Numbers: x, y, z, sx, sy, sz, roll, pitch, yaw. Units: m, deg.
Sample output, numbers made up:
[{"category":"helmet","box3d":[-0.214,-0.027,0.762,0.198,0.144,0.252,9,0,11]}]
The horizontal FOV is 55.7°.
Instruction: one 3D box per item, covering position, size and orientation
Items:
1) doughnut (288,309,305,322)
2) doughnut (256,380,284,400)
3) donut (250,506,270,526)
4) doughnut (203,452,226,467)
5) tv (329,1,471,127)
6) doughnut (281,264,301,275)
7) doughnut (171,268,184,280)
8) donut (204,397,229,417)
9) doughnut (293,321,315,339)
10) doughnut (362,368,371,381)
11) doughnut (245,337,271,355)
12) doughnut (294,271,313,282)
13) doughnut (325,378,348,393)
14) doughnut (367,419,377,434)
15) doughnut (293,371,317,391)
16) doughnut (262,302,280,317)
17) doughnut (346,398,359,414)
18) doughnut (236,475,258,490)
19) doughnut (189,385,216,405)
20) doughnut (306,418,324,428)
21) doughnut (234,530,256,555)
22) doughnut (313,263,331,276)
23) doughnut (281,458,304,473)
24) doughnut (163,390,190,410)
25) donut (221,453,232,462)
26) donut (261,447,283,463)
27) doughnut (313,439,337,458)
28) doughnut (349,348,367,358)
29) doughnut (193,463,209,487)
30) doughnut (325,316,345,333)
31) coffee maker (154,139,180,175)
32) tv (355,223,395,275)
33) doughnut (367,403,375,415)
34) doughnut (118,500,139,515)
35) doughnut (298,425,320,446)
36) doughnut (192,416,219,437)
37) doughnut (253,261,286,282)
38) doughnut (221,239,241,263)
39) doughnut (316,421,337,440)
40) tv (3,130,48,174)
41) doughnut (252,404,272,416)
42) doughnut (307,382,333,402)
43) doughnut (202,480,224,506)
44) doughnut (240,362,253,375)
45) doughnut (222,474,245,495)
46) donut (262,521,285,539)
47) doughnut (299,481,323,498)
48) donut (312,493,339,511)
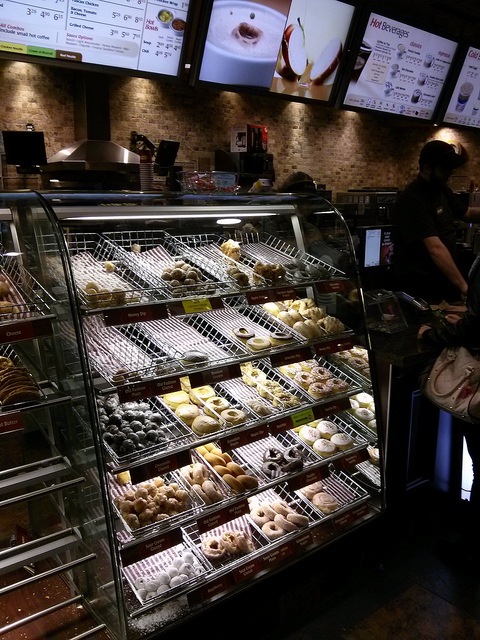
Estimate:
[{"category":"doughnut","box3d":[0.232,-0.019,1.876,0.057,0.046,0.048,33,19,17]},{"category":"doughnut","box3d":[0.112,0.273,1.786,0.093,0.022,0.108,30,35,30]},{"category":"donut","box3d":[0.067,0.739,1.707,0.057,0.024,0.081,-10,36,-33]},{"category":"doughnut","box3d":[-0.090,0.488,1.599,0.054,0.029,0.041,29,0,27]},{"category":"tv","box3d":[2.172,-3.475,6.100,2.441,1.307,0.092,8,27,-36]},{"category":"doughnut","box3d":[0.215,-0.217,1.897,0.053,0.016,0.052,17,17,-1]},{"category":"doughnut","box3d":[-0.211,-0.156,1.535,0.039,0.035,0.044,10,9,5]},{"category":"donut","box3d":[-0.083,0.309,1.610,0.082,0.020,0.106,13,29,4]},{"category":"doughnut","box3d":[0.251,0.039,1.816,0.044,0.044,0.093,-43,75,-11]},{"category":"doughnut","box3d":[0.528,0.223,1.900,0.020,0.036,0.042,-3,11,12]},{"category":"doughnut","box3d":[0.071,0.091,1.687,0.114,0.018,0.096,-9,35,-31]},{"category":"doughnut","box3d":[0.252,-0.182,1.862,0.066,0.021,0.081,30,35,31]},{"category":"doughnut","box3d":[0.400,0.268,1.885,0.065,0.020,0.063,4,17,-5]},{"category":"doughnut","box3d":[0.562,0.455,1.934,0.048,0.045,0.043,-2,10,-8]},{"category":"doughnut","box3d":[0.267,0.246,1.874,0.076,0.028,0.073,3,23,-10]},{"category":"doughnut","box3d":[0.131,-0.049,1.908,0.059,0.028,0.059,35,25,-1]},{"category":"doughnut","box3d":[0.487,0.381,2.006,0.066,0.042,0.064,-3,5,-10]},{"category":"doughnut","box3d":[0.025,0.553,1.547,0.056,0.028,0.043,15,1,-37]},{"category":"doughnut","box3d":[-0.140,0.274,1.640,0.094,0.032,0.091,2,17,2]},{"category":"doughnut","box3d":[0.325,0.451,1.971,0.066,0.017,0.067,-11,9,46]},{"category":"doughnut","box3d":[0.015,0.760,1.553,0.064,0.025,0.067,60,4,23]},{"category":"doughnut","box3d":[0.345,-0.212,1.914,0.056,0.011,0.055,31,34,-17]},{"category":"doughnut","box3d":[0.196,0.542,1.687,0.103,0.035,0.033,-13,38,-35]},{"category":"doughnut","box3d":[-0.223,0.280,1.566,0.101,0.033,0.097,3,13,-2]},{"category":"donut","box3d":[-0.048,0.504,1.658,0.026,0.019,0.026,4,9,41]},{"category":"donut","box3d":[0.121,0.523,1.746,0.077,0.036,0.104,10,29,-2]},{"category":"doughnut","box3d":[0.343,0.519,1.844,0.085,0.029,0.094,31,35,31]},{"category":"doughnut","box3d":[0.504,0.141,1.955,0.046,0.048,0.010,9,52,28]},{"category":"doughnut","box3d":[-0.131,0.512,1.507,0.017,0.049,0.051,-20,33,3]},{"category":"doughnut","box3d":[0.397,0.017,1.903,0.083,0.043,0.049,20,31,16]},{"category":"coffee maker","box3d":[-0.699,-1.510,4.305,0.188,0.347,0.682,4,30,-12]},{"category":"tv","box3d":[0.948,-0.489,3.061,0.045,0.301,0.365,0,7,-17]},{"category":"doughnut","box3d":[0.560,0.374,1.931,0.016,0.047,0.047,4,31,-13]},{"category":"doughnut","box3d":[-0.310,0.526,1.284,0.046,0.023,0.038,19,-14,6]},{"category":"doughnut","box3d":[0.288,0.479,1.888,0.084,0.028,0.089,19,30,14]},{"category":"doughnut","box3d":[-0.112,0.345,1.501,0.088,0.029,0.089,7,30,-7]},{"category":"doughnut","box3d":[0.115,-0.191,1.767,0.080,0.039,0.100,15,6,-5]},{"category":"doughnut","box3d":[-0.037,-0.283,1.823,0.080,0.024,0.079,23,43,-37]},{"category":"doughnut","box3d":[0.369,0.471,1.943,0.069,0.033,0.066,-8,27,-20]},{"category":"tv","box3d":[-1.820,-1.426,3.858,0.295,0.401,0.288,-4,34,-25]},{"category":"doughnut","box3d":[0.083,0.329,1.654,0.044,0.014,0.049,5,17,-9]},{"category":"doughnut","box3d":[0.323,0.285,1.836,0.076,0.026,0.073,0,22,-8]},{"category":"doughnut","box3d":[-0.088,0.554,1.459,0.059,0.020,0.058,45,0,6]},{"category":"doughnut","box3d":[0.027,0.200,1.887,0.055,0.015,0.056,-9,33,-19]},{"category":"doughnut","box3d":[-0.024,0.555,1.525,0.082,0.032,0.045,25,33,23]},{"category":"donut","box3d":[0.116,0.761,1.637,0.062,0.020,0.077,-15,39,-38]},{"category":"doughnut","box3d":[0.281,0.685,1.844,0.067,0.018,0.069,-12,12,-34]},{"category":"donut","box3d":[0.335,0.716,1.787,0.066,0.020,0.071,12,10,42]}]
